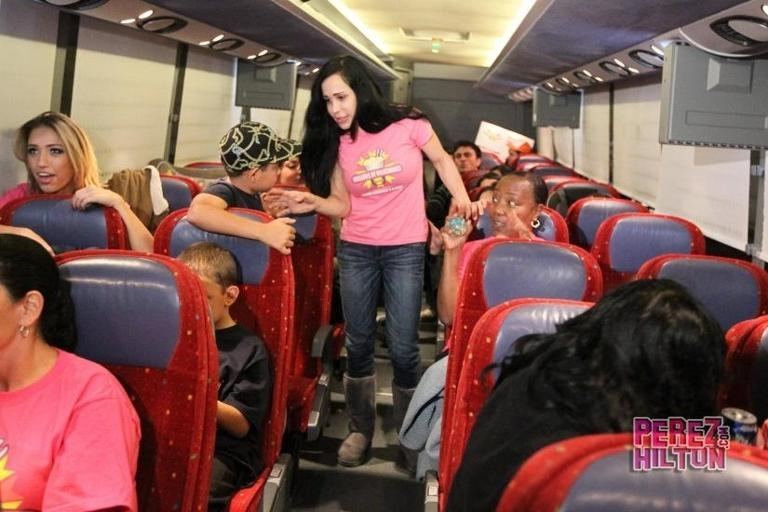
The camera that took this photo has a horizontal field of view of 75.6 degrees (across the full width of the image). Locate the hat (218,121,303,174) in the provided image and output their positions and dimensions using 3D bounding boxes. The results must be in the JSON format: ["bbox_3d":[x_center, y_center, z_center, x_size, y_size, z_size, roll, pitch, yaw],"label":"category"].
[{"bbox_3d":[-0.664,-0.551,2.657,0.388,0.190,0.251,-22,35,-12],"label":"hat"}]

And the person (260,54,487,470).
[{"bbox_3d":[-0.091,0.130,2.892,0.939,2.422,0.478,2,4,-6],"label":"person"}]

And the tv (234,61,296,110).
[{"bbox_3d":[-1.601,-2.329,6.743,0.787,0.744,0.182,5,12,12],"label":"tv"}]

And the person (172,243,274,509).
[{"bbox_3d":[-0.634,0.447,2.046,0.364,0.986,0.478,0,5,-26],"label":"person"}]

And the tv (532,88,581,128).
[{"bbox_3d":[3.163,-2.694,8.961,0.710,0.645,0.365,2,13,7],"label":"tv"}]
